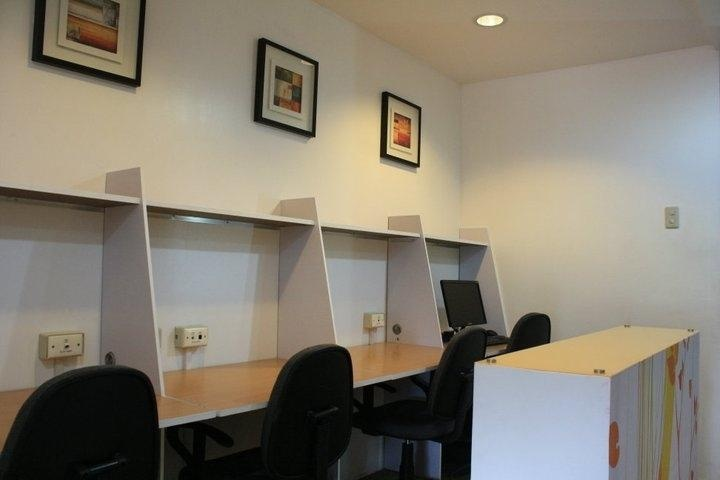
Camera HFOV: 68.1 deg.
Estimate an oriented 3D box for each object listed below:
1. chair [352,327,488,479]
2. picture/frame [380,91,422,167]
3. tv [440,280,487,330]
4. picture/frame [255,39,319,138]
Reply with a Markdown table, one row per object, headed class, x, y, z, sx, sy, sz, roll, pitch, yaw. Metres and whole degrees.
| class | x | y | z | sx | sy | sz | roll | pitch | yaw |
| --- | --- | --- | --- | --- | --- | --- | --- | --- | --- |
| chair | 0.464 | 1.042 | 3.874 | 1.003 | 1.360 | 0.755 | 0 | -6 | 32 |
| picture/frame | 0.324 | -0.930 | 4.438 | 0.064 | 0.612 | 0.617 | -5 | -9 | 40 |
| tv | 0.840 | 0.544 | 4.433 | 0.113 | 0.292 | 0.402 | -26 | -23 | 36 |
| picture/frame | -0.516 | -1.029 | 3.602 | 0.075 | 0.690 | 0.694 | -2 | -4 | 38 |
